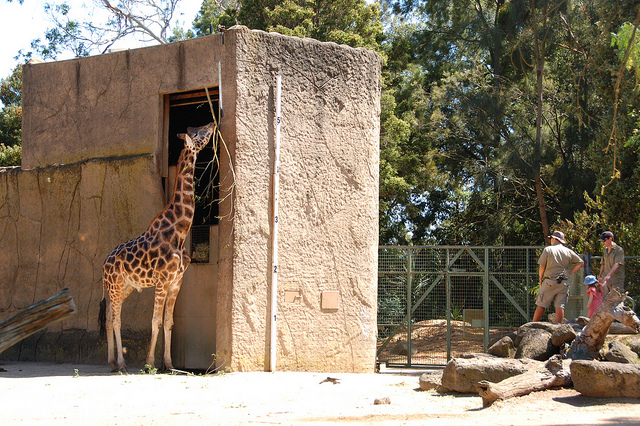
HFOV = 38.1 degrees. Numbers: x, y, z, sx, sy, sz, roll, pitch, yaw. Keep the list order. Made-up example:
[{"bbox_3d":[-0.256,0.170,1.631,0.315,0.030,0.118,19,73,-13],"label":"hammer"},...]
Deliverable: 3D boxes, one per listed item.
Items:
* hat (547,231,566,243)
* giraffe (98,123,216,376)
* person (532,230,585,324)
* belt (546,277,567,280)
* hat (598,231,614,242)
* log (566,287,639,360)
[{"bbox_3d":[5.287,0.548,20.585,0.320,0.182,0.241,24,4,26],"label":"hat"},{"bbox_3d":[-3.377,0.765,19.090,2.239,5.078,1.034,0,-7,2],"label":"giraffe"},{"bbox_3d":[5.189,1.385,20.298,1.019,2.035,0.790,-2,-7,11],"label":"person"},{"bbox_3d":[5.143,1.432,20.194,0.372,0.066,0.060,-3,-8,16],"label":"belt"},{"bbox_3d":[6.470,0.560,20.844,0.317,0.187,0.233,0,12,-2],"label":"hat"},{"bbox_3d":[5.600,2.226,18.356,0.905,1.389,0.598,21,22,9],"label":"log"}]
